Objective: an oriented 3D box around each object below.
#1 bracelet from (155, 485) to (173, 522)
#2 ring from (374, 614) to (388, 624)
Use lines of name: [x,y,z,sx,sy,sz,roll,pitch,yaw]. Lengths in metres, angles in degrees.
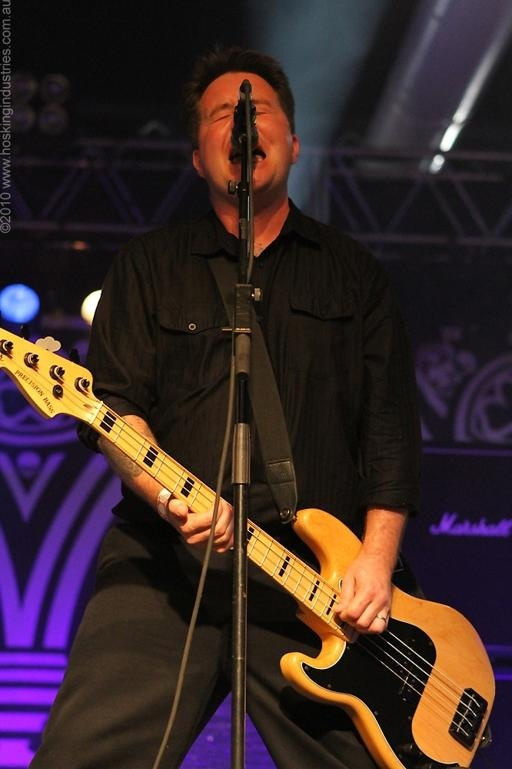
bracelet: [-0.210,0.270,1.866,0.037,0.092,0.100,7,-8,2]
ring: [0.308,0.565,1.950,0.027,0.024,0.006,9,-11,-31]
